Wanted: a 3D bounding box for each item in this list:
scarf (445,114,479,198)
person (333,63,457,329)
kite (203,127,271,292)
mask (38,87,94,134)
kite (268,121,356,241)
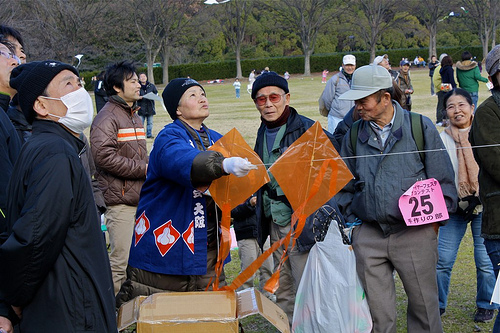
[{"bbox_3d":[2.273,-0.064,5.005,0.452,0.711,0.200,-2,-1,25],"label":"scarf"},{"bbox_3d":[1.288,0.258,4.240,1.000,2.342,0.430,0,4,25],"label":"person"},{"bbox_3d":[-0.180,0.413,3.984,0.583,1.478,0.276,8,20,3],"label":"kite"},{"bbox_3d":[-1.265,-0.402,3.380,0.313,0.290,0.296,-6,19,-3],"label":"mask"},{"bbox_3d":[0.549,0.152,4.065,0.695,0.231,0.947,-26,45,15],"label":"kite"}]
